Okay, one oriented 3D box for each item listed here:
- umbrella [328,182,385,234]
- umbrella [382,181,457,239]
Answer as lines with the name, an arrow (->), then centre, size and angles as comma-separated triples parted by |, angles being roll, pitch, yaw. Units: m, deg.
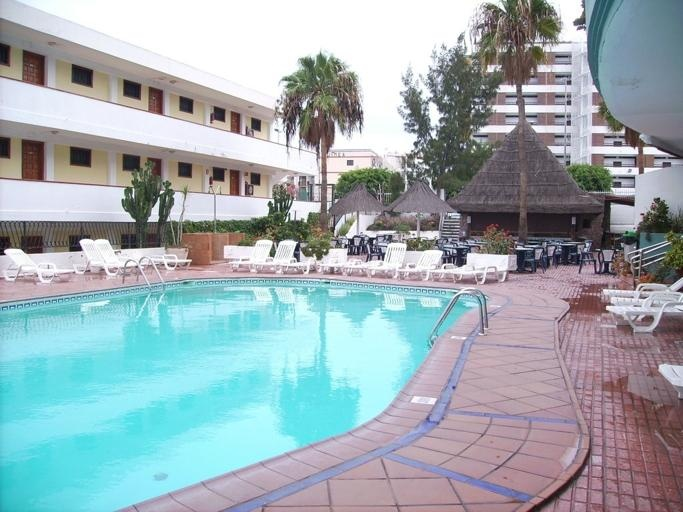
umbrella -> 0.918, -2.550, 27.027 | 2.622, 3.038, 2.829 | 0, 2, 3
umbrella -> 3.400, -2.303, 23.230 | 2.499, 2.708, 2.693 | 3, 7, 28
